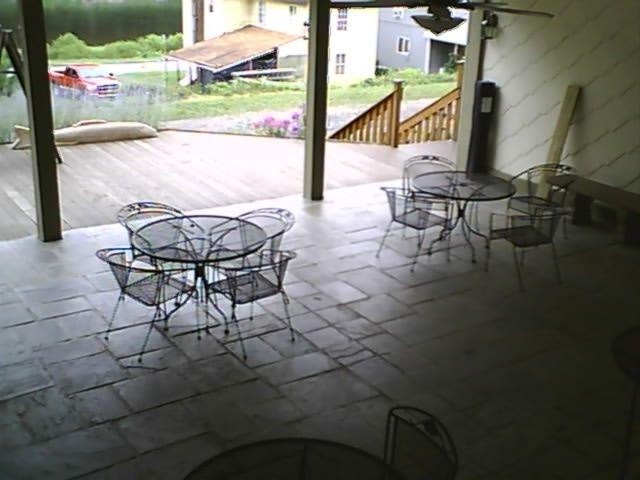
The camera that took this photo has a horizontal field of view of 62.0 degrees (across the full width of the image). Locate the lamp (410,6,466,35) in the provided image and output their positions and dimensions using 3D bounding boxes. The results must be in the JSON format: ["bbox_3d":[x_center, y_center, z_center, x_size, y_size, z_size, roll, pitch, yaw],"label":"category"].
[{"bbox_3d":[0.881,-1.645,3.996,0.394,0.193,0.339,6,22,10],"label":"lamp"}]
